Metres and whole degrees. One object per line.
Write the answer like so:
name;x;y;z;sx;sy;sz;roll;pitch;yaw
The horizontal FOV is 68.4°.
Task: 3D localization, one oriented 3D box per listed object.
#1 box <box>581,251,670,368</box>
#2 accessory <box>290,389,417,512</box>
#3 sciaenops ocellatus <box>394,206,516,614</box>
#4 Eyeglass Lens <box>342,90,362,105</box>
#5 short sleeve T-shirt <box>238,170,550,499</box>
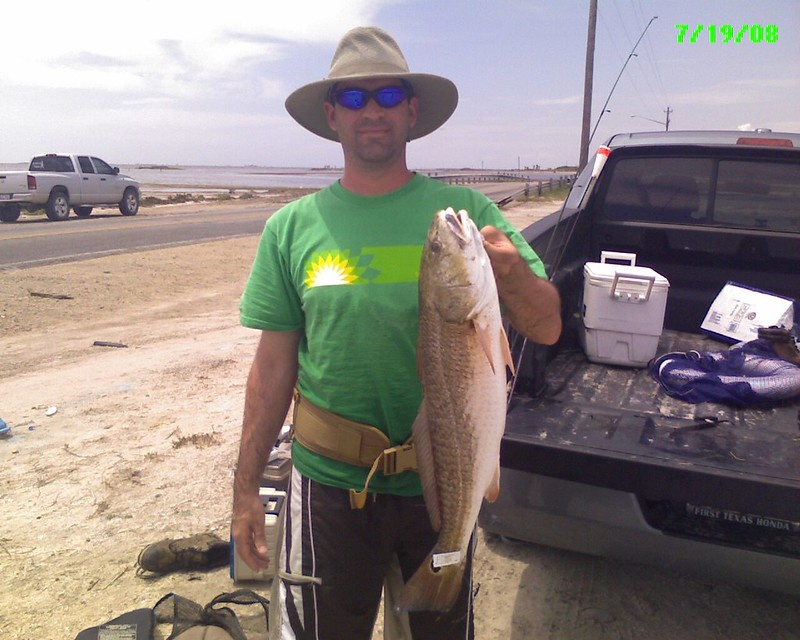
box;1.657;0.043;4.071;0.525;0.601;0.733;9;-4;41
accessory;-0.208;0.473;2.159;0.446;0.148;0.326;19;1;-1
sciaenops ocellatus;0.150;0.316;1.891;0.290;1.276;0.424;6;22;26
Eyeglass Lens;-0.172;-0.810;2.161;0.069;0.023;0.066;-1;9;-1
short sleeve T-shirt;-0.078;-0.051;2.215;1.039;0.371;1.122;0;57;-1
